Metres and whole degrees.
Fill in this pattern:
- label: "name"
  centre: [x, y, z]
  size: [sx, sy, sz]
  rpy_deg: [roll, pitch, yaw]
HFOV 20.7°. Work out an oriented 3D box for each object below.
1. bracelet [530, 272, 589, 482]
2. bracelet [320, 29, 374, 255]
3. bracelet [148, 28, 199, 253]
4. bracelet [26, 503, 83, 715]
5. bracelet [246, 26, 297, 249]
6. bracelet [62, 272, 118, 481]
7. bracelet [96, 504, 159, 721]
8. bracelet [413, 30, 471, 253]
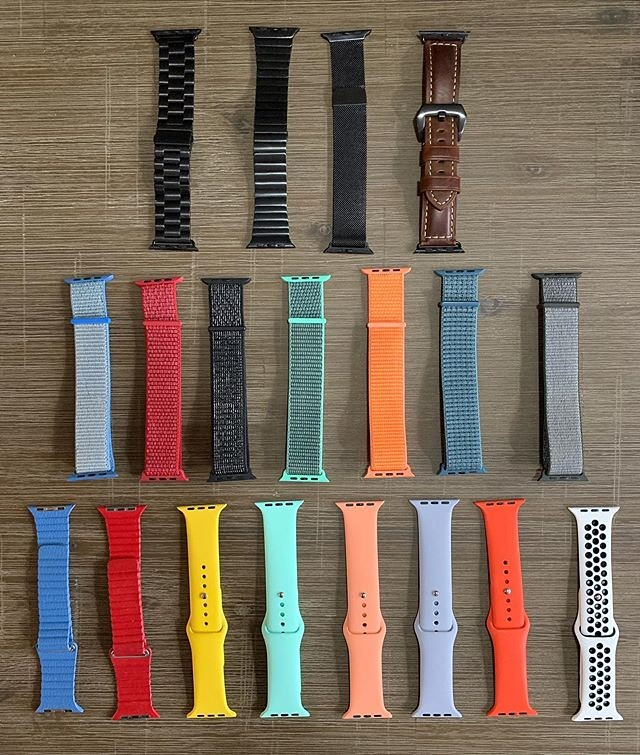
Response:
- label: "bracelet"
  centre: [0.779, -0.001, 5.722]
  size: [0.178, 0.675, 0.068]
  rpy_deg: [1, -3, 4]
- label: "bracelet"
  centre: [0.091, -0.768, 5.719]
  size: [0.176, 0.729, 0.060]
  rpy_deg: [1, -3, 0]
- label: "bracelet"
  centre: [-0.468, -0.775, 5.735]
  size: [0.160, 0.724, 0.067]
  rpy_deg: [1, -3, -4]
- label: "bracelet"
  centre: [-0.851, 0.754, 5.716]
  size: [0.180, 0.671, 0.047]
  rpy_deg: [2, -3, -8]
- label: "bracelet"
  centre: [-0.151, -0.781, 5.724]
  size: [0.154, 0.719, 0.054]
  rpy_deg: [1, -3, -3]
- label: "bracelet"
  centre: [-0.766, 0.001, 5.727]
  size: [0.245, 0.673, 0.080]
  rpy_deg: [-6, 5, -44]
- label: "bracelet"
  centre: [-0.619, 0.763, 5.638]
  size: [0.223, 0.608, 0.045]
  rpy_deg: [-3, 1, -1]
- label: "bracelet"
  centre: [0.392, -0.765, 5.708]
  size: [0.160, 0.718, 0.086]
  rpy_deg: [1, -3, 2]
